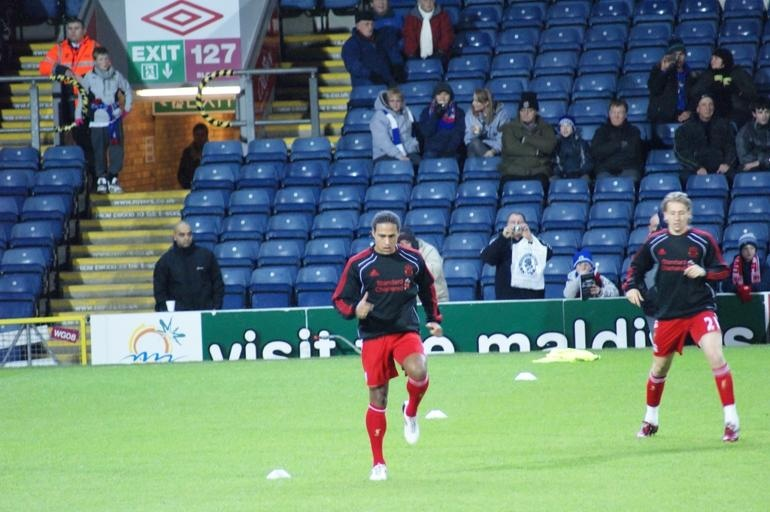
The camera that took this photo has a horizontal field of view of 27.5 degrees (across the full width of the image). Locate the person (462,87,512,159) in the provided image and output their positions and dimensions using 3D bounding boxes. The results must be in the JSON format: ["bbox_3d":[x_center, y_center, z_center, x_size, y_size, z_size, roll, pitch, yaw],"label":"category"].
[{"bbox_3d":[1.877,-2.219,29.338,0.865,1.705,0.840,-7,9,-16],"label":"person"}]

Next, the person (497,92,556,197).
[{"bbox_3d":[2.574,-1.802,28.799,0.964,2.213,0.673,-1,-12,12],"label":"person"}]

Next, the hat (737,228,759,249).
[{"bbox_3d":[6.090,-0.261,26.563,0.257,0.326,0.351,6,-21,1],"label":"hat"}]

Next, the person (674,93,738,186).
[{"bbox_3d":[5.703,-2.118,28.308,1.069,1.500,0.477,-1,5,13],"label":"person"}]

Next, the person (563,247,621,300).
[{"bbox_3d":[3.413,0.307,26.294,0.849,0.842,0.572,-6,6,-34],"label":"person"}]

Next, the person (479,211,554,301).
[{"bbox_3d":[2.154,0.118,26.383,1.161,1.704,0.906,-1,10,-7],"label":"person"}]

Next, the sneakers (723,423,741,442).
[{"bbox_3d":[4.705,2.437,21.546,0.157,0.255,0.259,-2,-10,11],"label":"sneakers"}]

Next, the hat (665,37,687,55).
[{"bbox_3d":[5.369,-3.889,29.312,0.269,0.303,0.373,1,-8,-4],"label":"hat"}]

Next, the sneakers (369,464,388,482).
[{"bbox_3d":[-0.118,2.881,20.887,0.229,0.207,0.097,-1,5,9],"label":"sneakers"}]

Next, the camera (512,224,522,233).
[{"bbox_3d":[2.143,-0.441,25.892,0.135,0.132,0.111,18,40,26],"label":"camera"}]

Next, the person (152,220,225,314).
[{"bbox_3d":[-3.374,0.189,26.785,1.163,1.503,0.294,-3,5,-9],"label":"person"}]

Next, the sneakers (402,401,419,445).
[{"bbox_3d":[0.320,2.308,21.580,0.211,0.607,0.249,-5,0,-14],"label":"sneakers"}]

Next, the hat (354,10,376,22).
[{"bbox_3d":[-0.405,-4.705,30.897,0.411,0.225,0.418,0,7,2],"label":"hat"}]

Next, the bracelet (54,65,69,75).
[{"bbox_3d":[-6.225,-3.565,30.250,0.205,0.209,0.197,-3,6,-38],"label":"bracelet"}]

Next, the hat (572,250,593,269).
[{"bbox_3d":[3.212,0.033,26.014,0.240,0.257,0.332,-3,-23,1],"label":"hat"}]

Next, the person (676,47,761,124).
[{"bbox_3d":[6.108,-3.086,29.104,0.961,1.693,1.119,17,-23,-38],"label":"person"}]

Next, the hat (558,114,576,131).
[{"bbox_3d":[3.263,-2.428,28.496,0.201,0.200,0.257,3,-38,20],"label":"hat"}]

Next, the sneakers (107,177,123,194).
[{"bbox_3d":[-5.235,-1.366,30.563,0.291,0.326,0.296,1,-2,5],"label":"sneakers"}]

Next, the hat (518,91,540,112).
[{"bbox_3d":[2.581,-2.812,28.627,0.283,0.358,0.376,1,-4,12],"label":"hat"}]

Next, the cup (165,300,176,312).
[{"bbox_3d":[-3.640,0.855,26.628,0.157,0.192,0.160,1,2,0],"label":"cup"}]

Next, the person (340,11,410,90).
[{"bbox_3d":[-0.285,-4.032,30.656,1.164,1.452,0.471,-2,5,0],"label":"person"}]

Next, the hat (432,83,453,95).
[{"bbox_3d":[1.046,-3.085,29.120,0.337,0.245,0.305,-2,5,-2],"label":"hat"}]

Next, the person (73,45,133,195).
[{"bbox_3d":[-5.313,-2.580,30.041,0.895,2.787,0.658,-3,5,-11],"label":"person"}]

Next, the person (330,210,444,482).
[{"bbox_3d":[0.047,1.151,21.303,1.367,3.498,0.900,-4,5,-18],"label":"person"}]

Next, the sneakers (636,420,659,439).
[{"bbox_3d":[3.622,2.439,21.930,0.144,0.159,0.345,-3,-1,37],"label":"sneakers"}]
